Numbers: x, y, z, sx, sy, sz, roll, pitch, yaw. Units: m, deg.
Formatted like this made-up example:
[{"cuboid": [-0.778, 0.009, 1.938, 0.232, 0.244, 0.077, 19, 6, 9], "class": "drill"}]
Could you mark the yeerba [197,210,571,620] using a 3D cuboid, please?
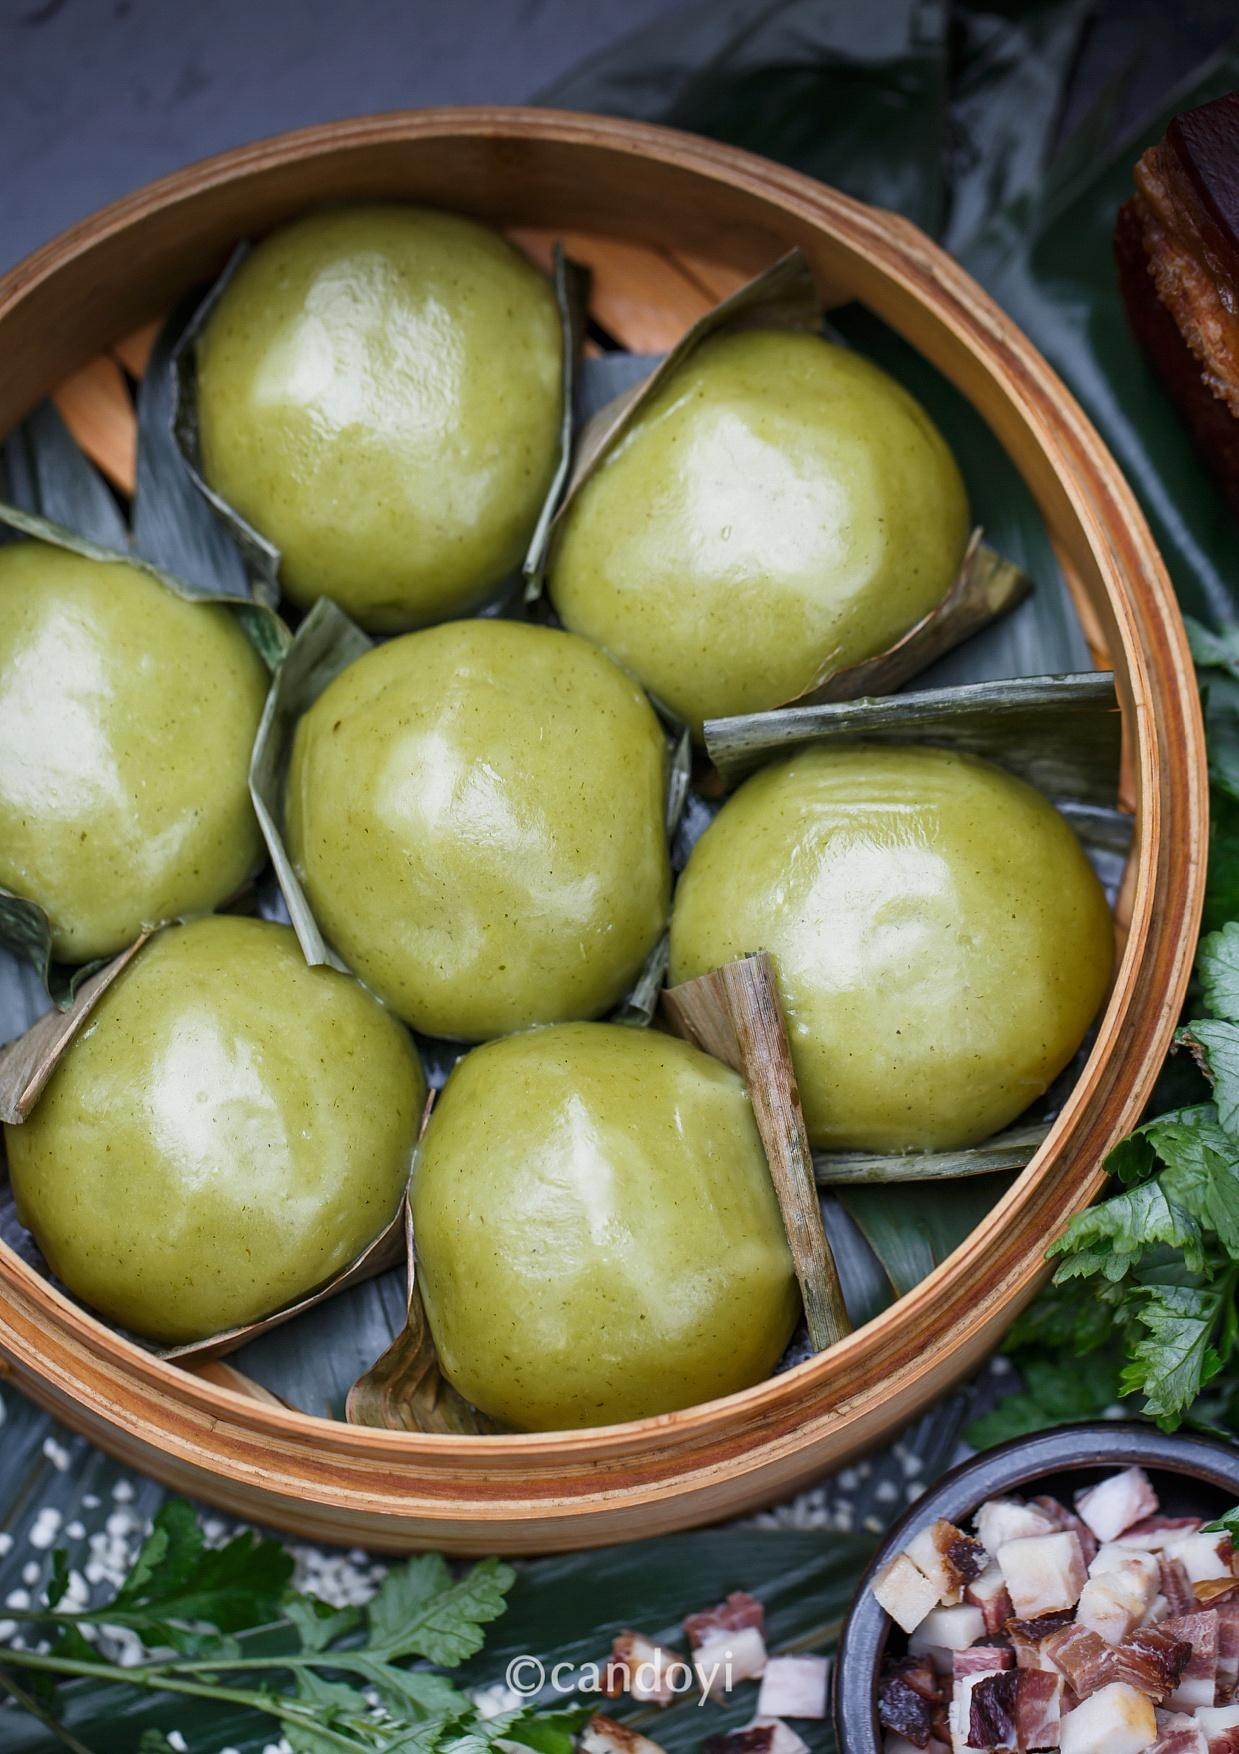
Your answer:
[{"cuboid": [-0.151, -0.296, 1.114, 0.231, 0.133, 0.256, -2, 79, 0], "class": "yeerba"}]

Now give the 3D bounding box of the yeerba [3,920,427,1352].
[{"cuboid": [-0.238, 0.151, 1.041, 0.221, 0.084, 0.237, 37, 82, 7], "class": "yeerba"}]

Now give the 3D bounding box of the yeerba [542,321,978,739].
[{"cuboid": [0.086, -0.211, 1.088, 0.210, 0.095, 0.234, 35, 81, 6], "class": "yeerba"}]
